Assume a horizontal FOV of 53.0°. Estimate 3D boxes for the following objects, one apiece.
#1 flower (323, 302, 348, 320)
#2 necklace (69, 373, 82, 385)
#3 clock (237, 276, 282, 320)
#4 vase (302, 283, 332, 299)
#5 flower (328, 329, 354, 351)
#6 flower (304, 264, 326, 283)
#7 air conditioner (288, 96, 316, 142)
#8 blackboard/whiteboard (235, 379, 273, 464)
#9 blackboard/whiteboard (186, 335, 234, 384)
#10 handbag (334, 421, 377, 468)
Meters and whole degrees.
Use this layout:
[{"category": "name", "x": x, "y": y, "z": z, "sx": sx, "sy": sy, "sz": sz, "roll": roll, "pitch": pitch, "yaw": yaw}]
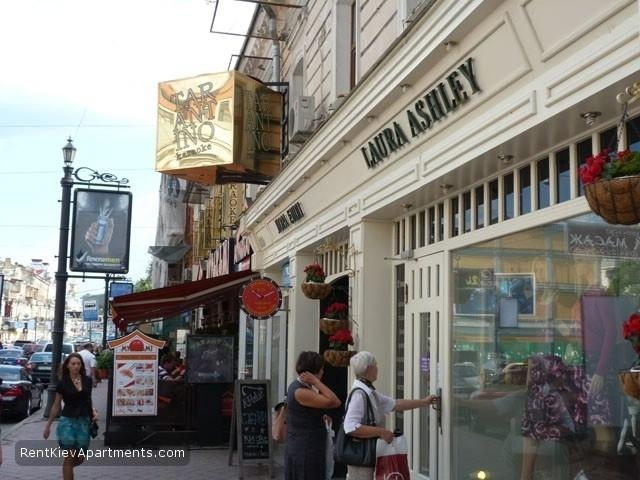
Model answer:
[{"category": "flower", "x": 0.244, "y": 1.028, "z": 9.286, "sx": 0.312, "sy": 0.240, "sz": 0.295, "roll": 1, "pitch": -10, "yaw": 2}, {"category": "necklace", "x": -3.275, "y": 1.874, "z": 8.635, "sx": 0.095, "sy": 0.110, "sz": 0.139, "roll": 7, "pitch": -40, "yaw": -3}, {"category": "clock", "x": -1.077, "y": 1.036, "z": 11.634, "sx": 0.739, "sy": 0.731, "sz": 0.197, "roll": 3, "pitch": -9, "yaw": -9}, {"category": "vase", "x": -0.044, "y": 0.785, "z": 9.998, "sx": 0.479, "sy": 0.228, "sz": 0.350, "roll": -1, "pitch": -10, "yaw": 14}, {"category": "flower", "x": 0.301, "y": 1.409, "z": 9.147, "sx": 0.334, "sy": 0.287, "sz": 0.492, "roll": 1, "pitch": -10, "yaw": 2}, {"category": "flower", "x": -0.082, "y": 0.521, "z": 10.114, "sx": 0.263, "sy": 0.303, "sz": 0.279, "roll": -2, "pitch": -8, "yaw": 27}, {"category": "air conditioner", "x": -0.354, "y": -2.257, "z": 12.088, "sx": 0.227, "sy": 0.667, "sz": 0.735, "roll": 2, "pitch": -9, "yaw": -16}, {"category": "blackboard/whiteboard", "x": -1.071, "y": 3.009, "z": 10.461, "sx": 0.619, "sy": 1.461, "sz": 0.492, "roll": 1, "pitch": -16, "yaw": -9}, {"category": "blackboard/whiteboard", "x": -2.176, "y": 2.342, "z": 12.490, "sx": 0.864, "sy": 1.050, "sz": 0.129, "roll": 1, "pitch": -15, "yaw": -11}, {"category": "handbag", "x": 0.343, "y": 2.022, "z": 6.276, "sx": 0.437, "sy": 0.373, "sz": 0.211, "roll": 0, "pitch": -9, "yaw": 12}]
